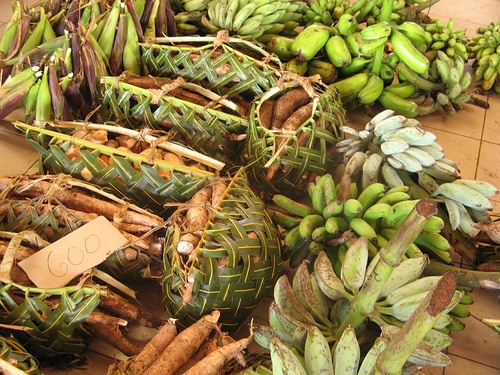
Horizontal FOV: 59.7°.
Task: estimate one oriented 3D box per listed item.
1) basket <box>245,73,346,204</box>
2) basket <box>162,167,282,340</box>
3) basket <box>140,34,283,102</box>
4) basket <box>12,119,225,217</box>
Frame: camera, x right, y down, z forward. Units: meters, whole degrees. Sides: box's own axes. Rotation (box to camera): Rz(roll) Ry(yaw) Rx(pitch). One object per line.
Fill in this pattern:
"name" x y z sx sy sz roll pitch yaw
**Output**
"basket" 0.176 -0.195 1.822 0.359 0.345 0.498 20 73 14
"basket" -0.054 0.227 1.435 0.196 0.480 0.352 15 13 -44
"basket" -0.153 -0.510 1.811 0.566 0.225 0.297 23 35 11
"basket" -0.440 -0.065 1.517 0.396 0.239 0.060 18 51 3
